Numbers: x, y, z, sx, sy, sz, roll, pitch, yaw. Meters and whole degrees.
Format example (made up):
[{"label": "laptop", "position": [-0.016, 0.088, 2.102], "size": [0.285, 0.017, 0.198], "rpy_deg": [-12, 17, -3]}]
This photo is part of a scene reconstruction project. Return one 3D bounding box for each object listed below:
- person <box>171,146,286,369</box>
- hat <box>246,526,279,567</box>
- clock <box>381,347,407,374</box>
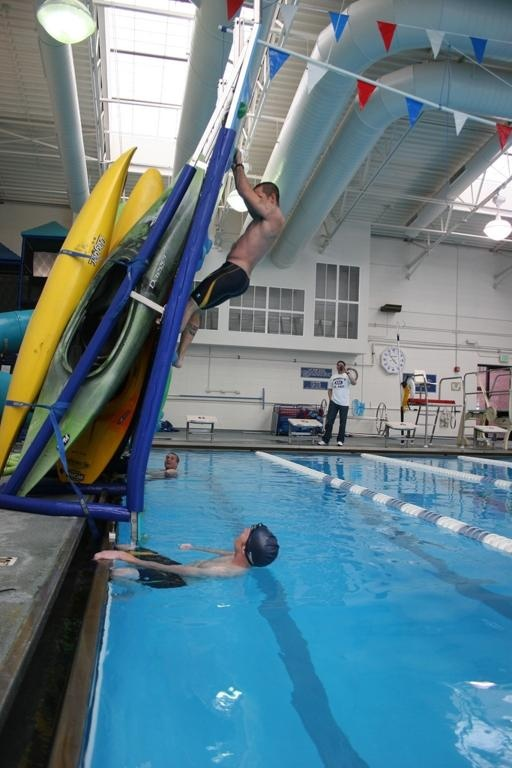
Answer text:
[{"label": "person", "position": [-0.174, -0.880, 3.731], "size": [0.728, 1.570, 1.081], "rpy_deg": [3, -3, -4]}, {"label": "hat", "position": [0.016, 0.685, 2.295], "size": [0.123, 0.156, 0.169], "rpy_deg": [2, -5, -23]}, {"label": "clock", "position": [3.659, -0.635, 14.568], "size": [0.651, 0.771, 0.126], "rpy_deg": [-4, -6, -23]}]
